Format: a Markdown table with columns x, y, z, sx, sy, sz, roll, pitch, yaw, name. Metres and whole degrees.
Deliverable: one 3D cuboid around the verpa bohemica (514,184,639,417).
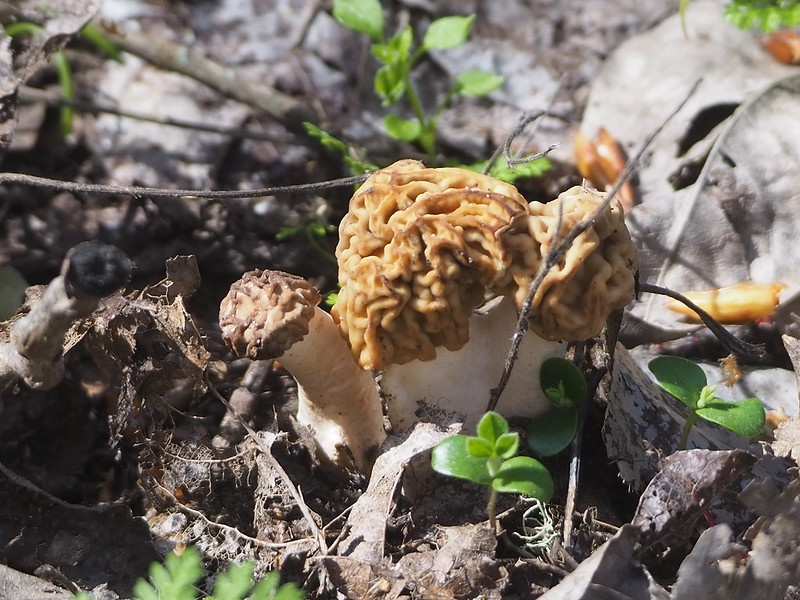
| x | y | z | sx | sy | sz | roll | pitch | yaw | name |
| --- | --- | --- | --- | --- | --- | --- | --- | --- | --- |
| 0.853 | -0.122 | 4.150 | 0.642 | 0.724 | 0.274 | 4 | 15 | -4 | verpa bohemica |
